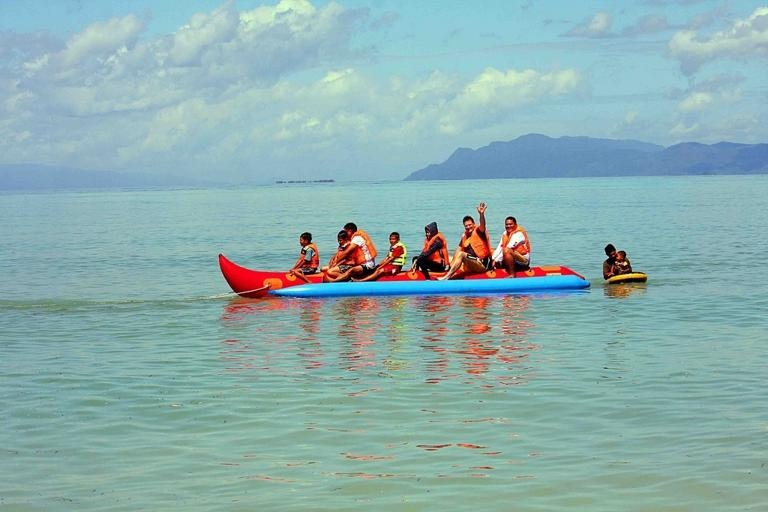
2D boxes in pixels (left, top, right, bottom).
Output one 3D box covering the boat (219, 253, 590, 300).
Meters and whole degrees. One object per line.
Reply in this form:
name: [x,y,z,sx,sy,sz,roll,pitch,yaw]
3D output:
boat: [0.444,0.557,22.852,9.419,0.957,0.938,-1,13,0]
